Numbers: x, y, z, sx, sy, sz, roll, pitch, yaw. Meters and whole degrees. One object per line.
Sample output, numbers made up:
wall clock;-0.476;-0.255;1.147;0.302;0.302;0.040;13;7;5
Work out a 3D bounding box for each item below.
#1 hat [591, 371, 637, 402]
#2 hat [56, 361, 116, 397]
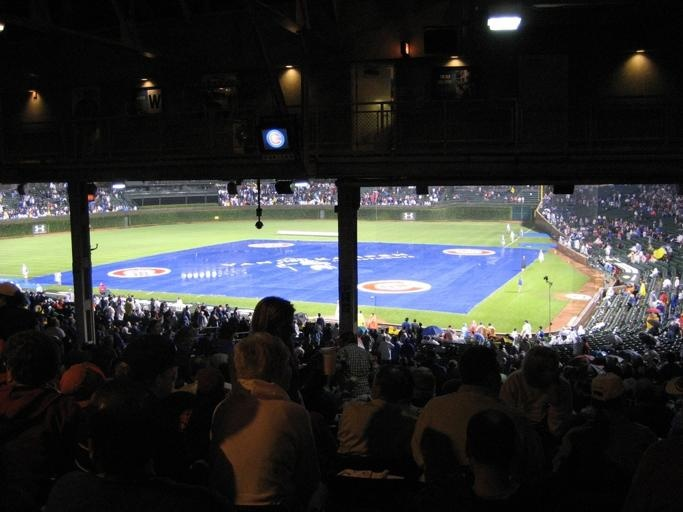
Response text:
hat;1.967;0.963;5.019;0.201;0.179;0.260;-1;0;38
hat;-2.082;1.040;5.621;0.395;0.287;0.393;-24;-30;25
